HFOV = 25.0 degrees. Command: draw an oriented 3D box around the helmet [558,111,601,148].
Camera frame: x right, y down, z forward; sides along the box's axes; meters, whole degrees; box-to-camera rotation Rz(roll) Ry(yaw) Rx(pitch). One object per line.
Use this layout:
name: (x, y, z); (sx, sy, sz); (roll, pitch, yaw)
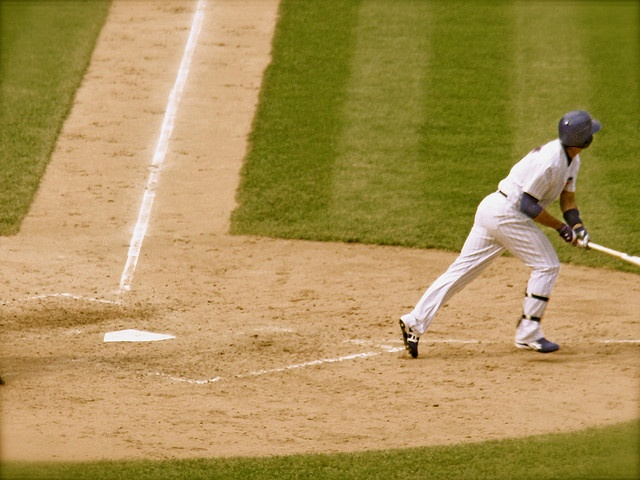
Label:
helmet: (3.515, -1.448, 19.105); (0.728, 0.325, 0.516); (-4, 18, 15)

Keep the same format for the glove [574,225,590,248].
glove: (3.518, -0.045, 19.374); (0.198, 0.140, 0.317); (-10, 61, -7)

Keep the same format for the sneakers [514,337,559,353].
sneakers: (2.967, 1.414, 19.509); (0.465, 0.165, 0.232); (1, 6, 9)
